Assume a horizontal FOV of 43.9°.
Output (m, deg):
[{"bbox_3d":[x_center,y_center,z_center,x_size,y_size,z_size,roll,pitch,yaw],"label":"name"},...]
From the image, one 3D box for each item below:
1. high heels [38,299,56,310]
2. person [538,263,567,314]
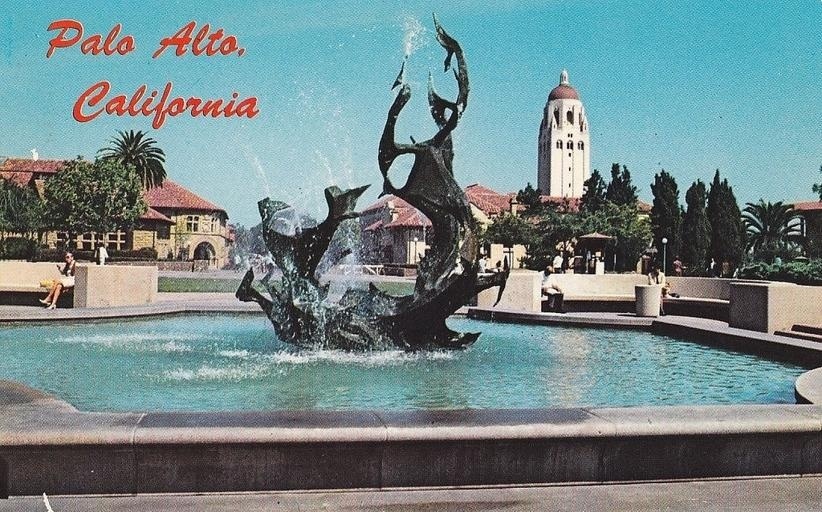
[{"bbox_3d":[-10.905,1.454,30.738,0.379,0.172,0.132,22,20,13],"label":"high heels"},{"bbox_3d":[4.395,1.007,31.599,0.721,1.183,1.174,3,-1,7],"label":"person"}]
